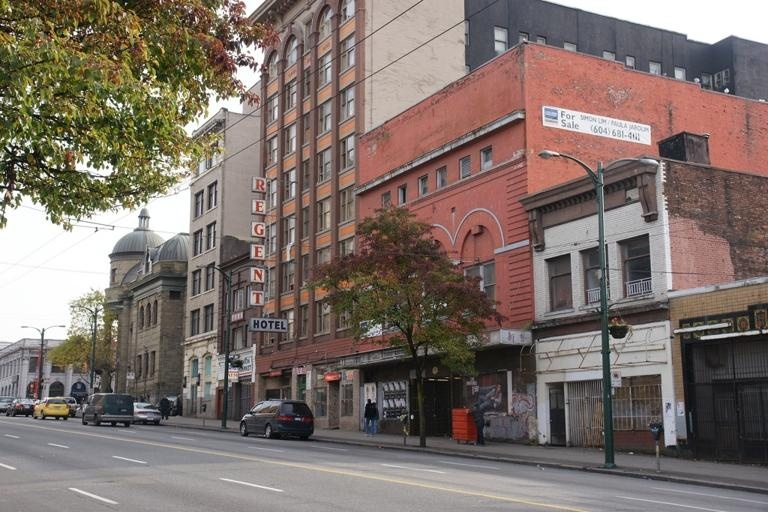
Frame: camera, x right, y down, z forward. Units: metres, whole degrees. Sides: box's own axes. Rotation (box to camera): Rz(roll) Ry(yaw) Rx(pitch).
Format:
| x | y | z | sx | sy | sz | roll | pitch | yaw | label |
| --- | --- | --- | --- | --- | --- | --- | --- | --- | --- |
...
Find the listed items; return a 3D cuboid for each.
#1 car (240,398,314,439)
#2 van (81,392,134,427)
| x | y | z | sx | sy | sz | roll | pitch | yaw | label |
| --- | --- | --- | --- | --- | --- | --- | --- | --- | --- |
| -5.550 | 8.449 | 49.640 | 2.414 | 1.913 | 5.334 | 9 | -11 | -27 | car |
| -16.896 | 9.439 | 59.146 | 1.878 | 1.435 | 3.603 | 6 | -11 | -28 | van |
